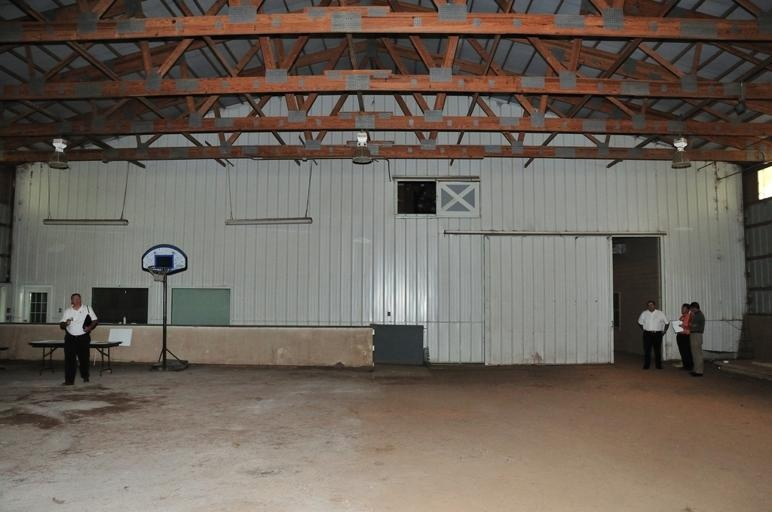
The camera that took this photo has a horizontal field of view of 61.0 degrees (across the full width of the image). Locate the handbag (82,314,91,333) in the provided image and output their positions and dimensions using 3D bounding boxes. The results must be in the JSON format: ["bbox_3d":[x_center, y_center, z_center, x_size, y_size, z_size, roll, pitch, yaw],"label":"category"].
[{"bbox_3d":[-7.616,1.718,16.732,0.280,0.366,0.098,3,-1,-33],"label":"handbag"}]

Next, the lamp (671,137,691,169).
[{"bbox_3d":[7.622,-2.704,16.934,0.391,0.757,0.815,5,13,20],"label":"lamp"}]

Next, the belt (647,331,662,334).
[{"bbox_3d":[7.941,2.225,19.370,0.337,0.089,0.093,1,12,1],"label":"belt"}]
